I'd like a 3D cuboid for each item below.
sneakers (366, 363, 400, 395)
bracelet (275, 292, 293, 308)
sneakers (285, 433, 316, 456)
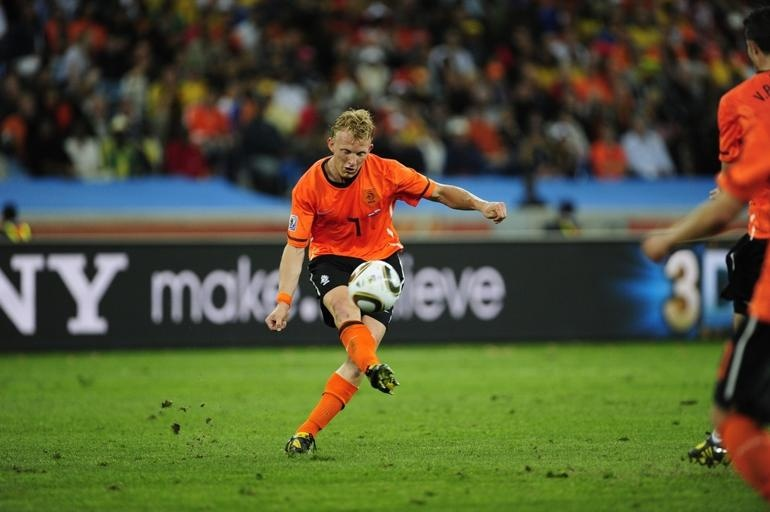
[{"bbox_3d":[-0.034,1.046,9.471,0.253,0.263,0.215,1,8,-6],"label":"sneakers"},{"bbox_3d":[-0.886,0.403,9.785,0.135,0.091,0.139,9,-25,25],"label":"bracelet"},{"bbox_3d":[-0.753,1.659,9.874,0.266,0.180,0.147,-6,9,-41],"label":"sneakers"}]
